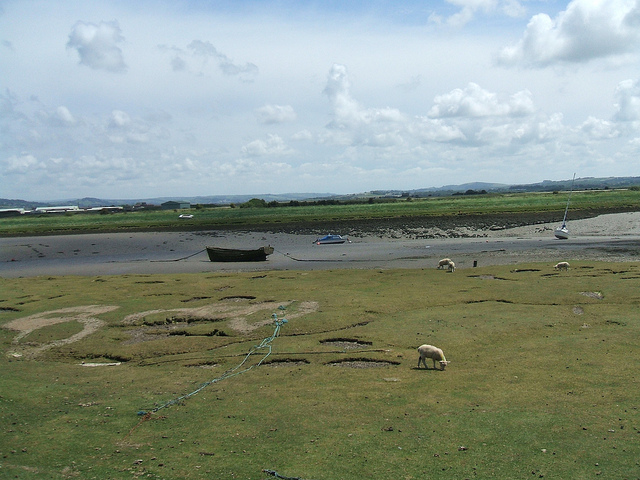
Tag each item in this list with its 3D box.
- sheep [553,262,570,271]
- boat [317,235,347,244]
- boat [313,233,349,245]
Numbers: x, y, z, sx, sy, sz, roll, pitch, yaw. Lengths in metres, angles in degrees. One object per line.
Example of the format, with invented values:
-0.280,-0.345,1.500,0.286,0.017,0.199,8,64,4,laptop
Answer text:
23.864,2.555,50.192,1.262,0.605,1.140,1,13,19,sheep
2.000,-0.120,91.840,4.699,1.111,2.860,-4,12,-8,boat
1.863,-0.177,92.296,5.041,1.104,4.595,1,12,19,boat
